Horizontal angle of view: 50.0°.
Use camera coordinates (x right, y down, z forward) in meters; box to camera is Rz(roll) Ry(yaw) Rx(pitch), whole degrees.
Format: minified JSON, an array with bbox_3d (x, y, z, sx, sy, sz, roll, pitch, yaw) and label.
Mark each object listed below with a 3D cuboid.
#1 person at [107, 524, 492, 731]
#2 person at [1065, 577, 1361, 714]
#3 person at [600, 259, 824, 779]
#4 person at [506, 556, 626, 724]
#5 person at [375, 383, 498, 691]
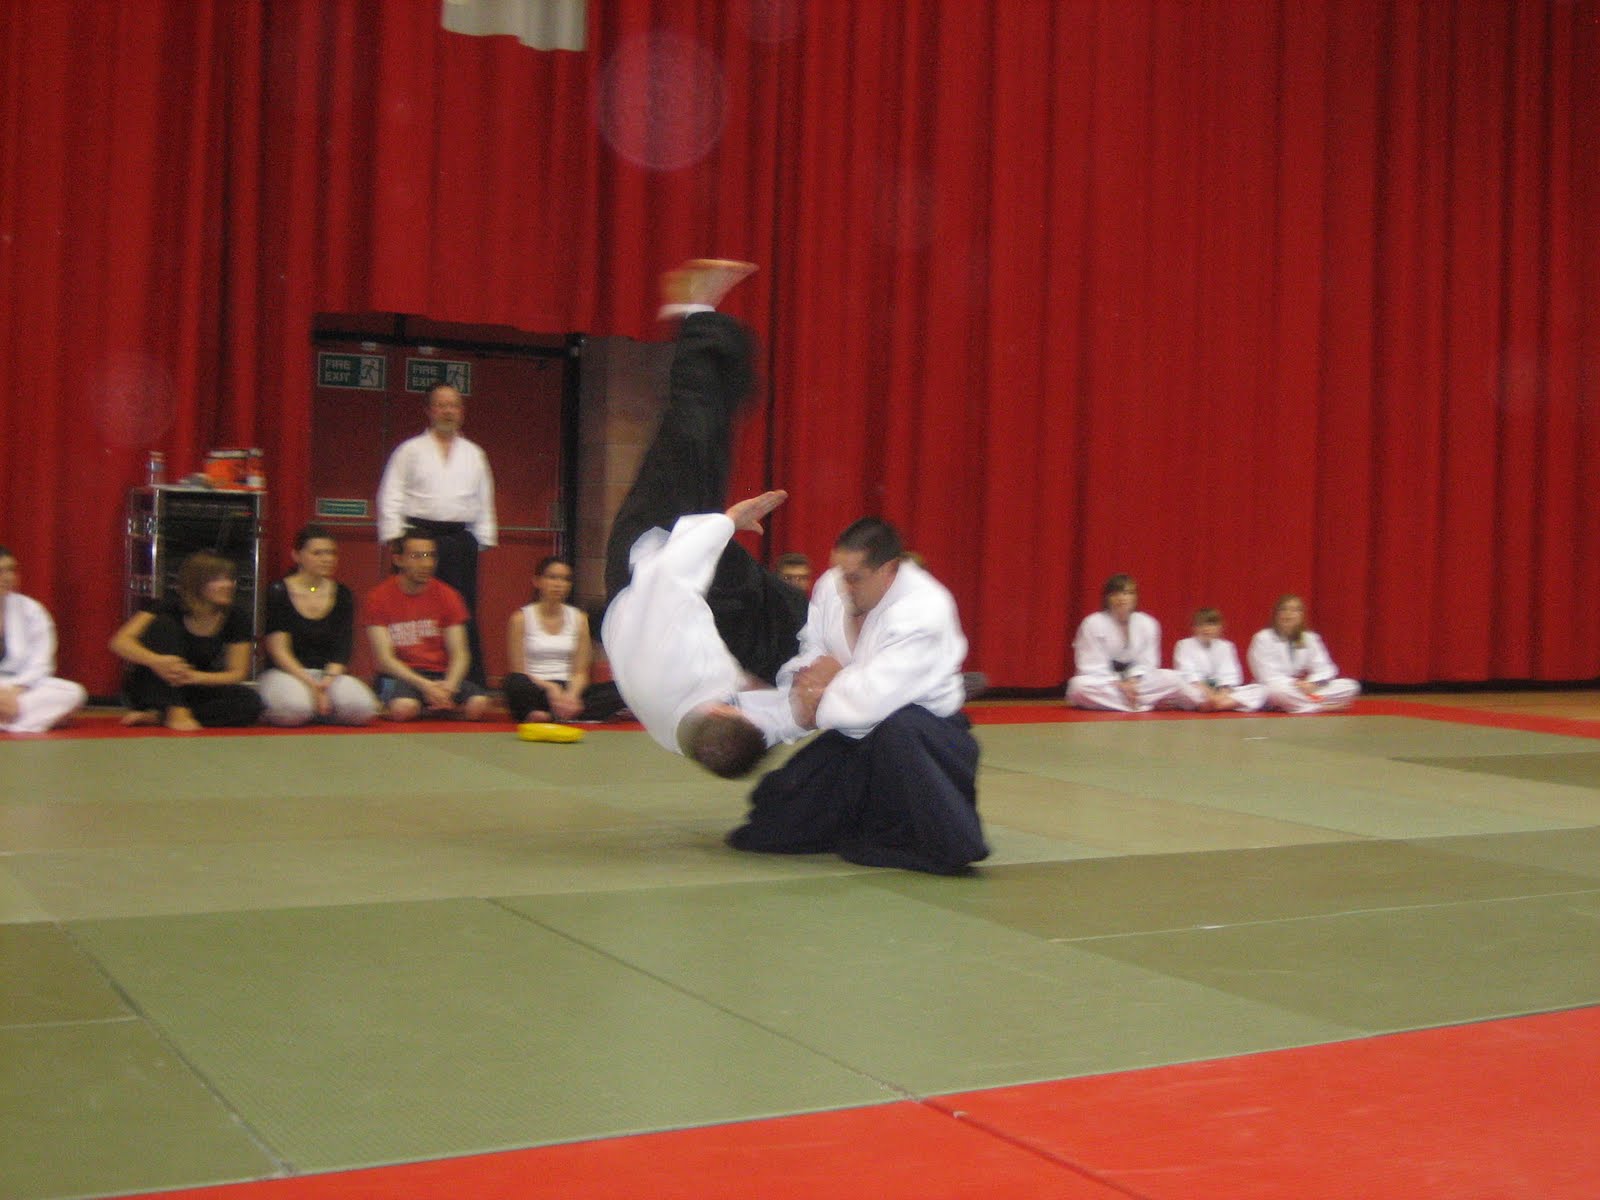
[{"bbox_3d":[-2.064,0.103,7.077,1.419,0.817,0.457,1,1,-24],"label":"person"},{"bbox_3d":[2.175,0.233,9.210,1.511,0.473,0.406,1,1,-11],"label":"person"},{"bbox_3d":[-0.278,-0.246,4.792,0.569,1.453,0.537,1,1,-1],"label":"person"},{"bbox_3d":[-1.011,0.191,7.481,0.527,0.725,0.666,3,7,-10],"label":"person"},{"bbox_3d":[-1.714,-0.243,8.049,0.594,1.546,0.380,0,6,-31],"label":"person"}]
